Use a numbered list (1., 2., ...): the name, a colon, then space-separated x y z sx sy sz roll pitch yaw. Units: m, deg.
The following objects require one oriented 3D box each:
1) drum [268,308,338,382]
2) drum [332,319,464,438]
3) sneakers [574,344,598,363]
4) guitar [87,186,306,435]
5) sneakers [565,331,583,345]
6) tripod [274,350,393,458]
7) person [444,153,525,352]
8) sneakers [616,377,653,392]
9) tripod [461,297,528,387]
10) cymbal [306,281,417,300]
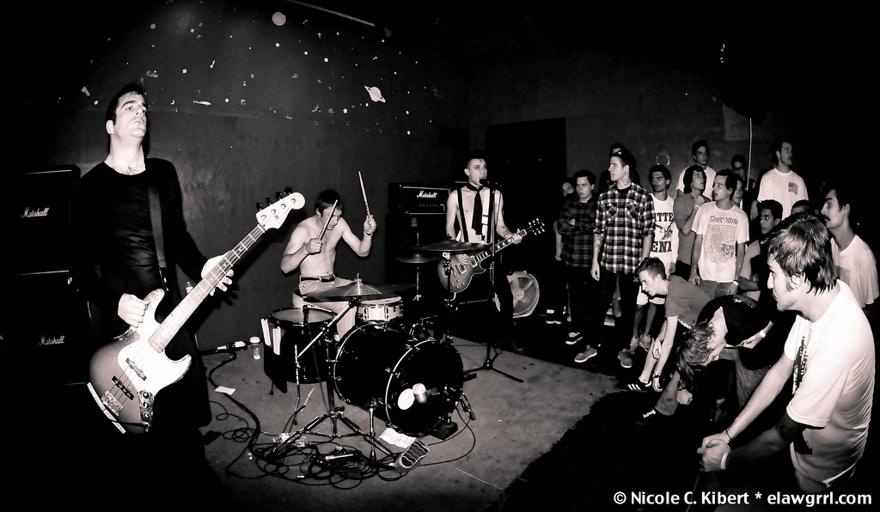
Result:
1. drum: -1.651 1.016 6.879 0.744 0.704 0.748 10 11 33
2. drum: -0.423 1.293 6.418 1.019 1.066 1.234 -3 6 -35
3. sneakers: 1.853 1.242 7.584 0.422 0.176 0.149 -7 14 -28
4. guitar: -2.698 0.631 6.444 1.017 3.166 0.458 43 -11 -10
5. sneakers: 1.827 1.137 8.122 0.322 0.130 0.114 -3 7 -26
6. tripod: -1.179 1.554 6.217 1.068 0.893 1.144 -6 0 -38
7. person: 0.558 0.095 7.788 1.087 2.808 1.052 6 16 21
8. sneakers: 2.287 1.508 6.923 0.399 0.158 0.144 3 9 32
9. tripod: 0.661 1.122 7.667 0.931 1.043 0.837 1 -4 -39
10. cymbal: -0.838 0.380 6.217 1.116 0.213 0.491 0 9 -13
